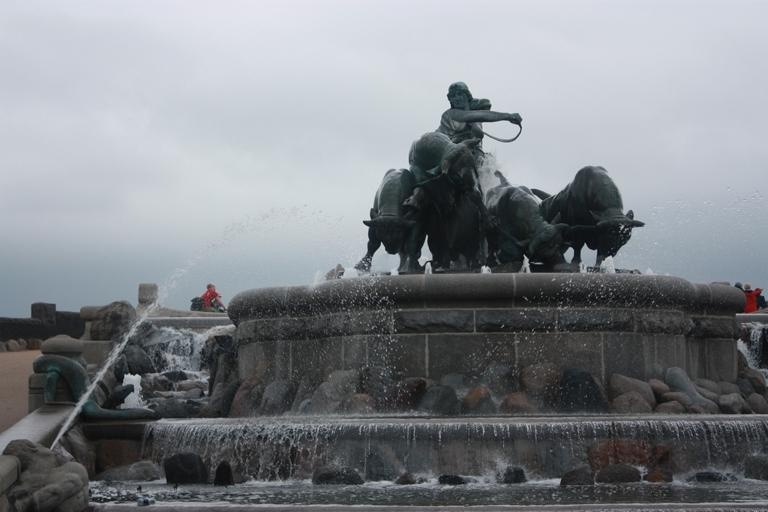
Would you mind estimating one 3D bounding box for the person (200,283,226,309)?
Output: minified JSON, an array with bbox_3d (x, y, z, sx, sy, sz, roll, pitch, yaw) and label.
[{"bbox_3d":[-6.648,1.522,43.453,0.757,0.957,1.908,2,-6,-10],"label":"person"}]
